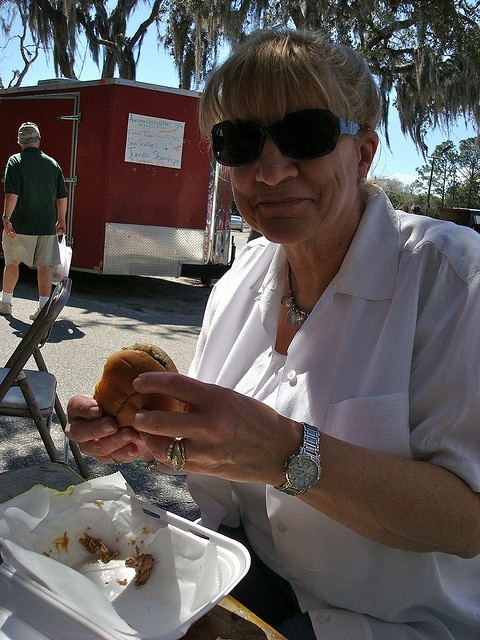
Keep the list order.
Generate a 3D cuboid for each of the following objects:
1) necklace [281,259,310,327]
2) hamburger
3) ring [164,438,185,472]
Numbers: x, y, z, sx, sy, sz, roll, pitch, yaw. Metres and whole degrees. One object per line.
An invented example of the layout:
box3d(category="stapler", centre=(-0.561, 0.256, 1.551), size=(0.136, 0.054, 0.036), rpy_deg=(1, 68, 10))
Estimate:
box3d(category="necklace", centre=(0.177, -0.085, 1.604), size=(0.065, 0.201, 0.076), rpy_deg=(-2, 14, -14))
box3d(category="hamburger", centre=(-0.239, 0.137, 1.228), size=(0.181, 0.195, 0.234), rpy_deg=(11, 14, 39))
box3d(category="ring", centre=(-0.121, 0.267, 0.981), size=(0.025, 0.065, 0.057), rpy_deg=(-2, 5, 11))
